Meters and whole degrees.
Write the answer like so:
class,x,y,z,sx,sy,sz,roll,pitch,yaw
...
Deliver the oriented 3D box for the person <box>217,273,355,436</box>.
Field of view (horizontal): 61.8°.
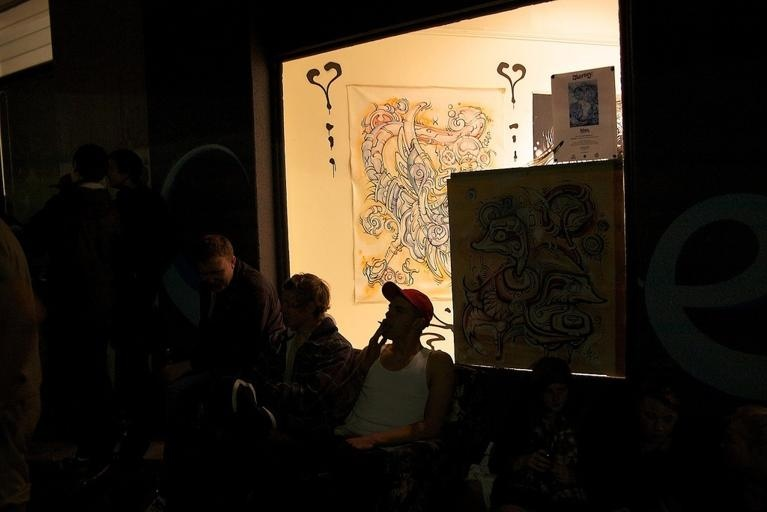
class,x,y,z,sx,sy,sz,roll,pitch,yaw
person,-0.636,0.661,4.900,0.891,1.576,1.022,6,-4,-29
